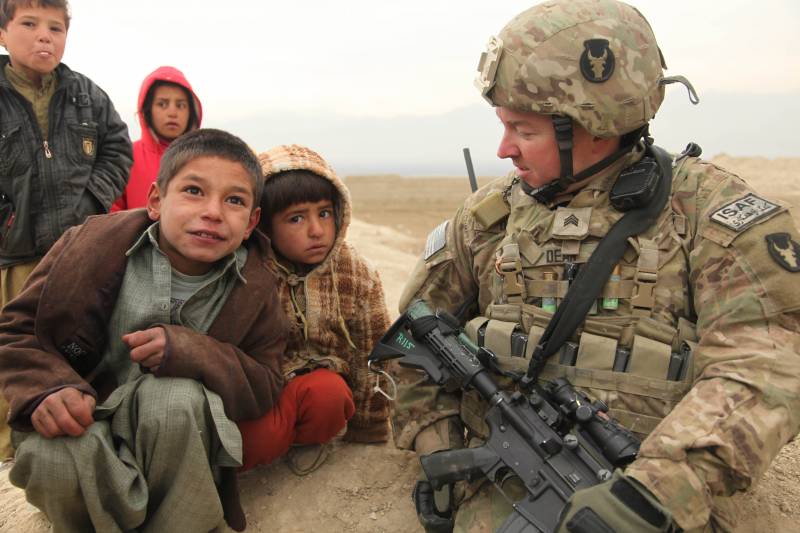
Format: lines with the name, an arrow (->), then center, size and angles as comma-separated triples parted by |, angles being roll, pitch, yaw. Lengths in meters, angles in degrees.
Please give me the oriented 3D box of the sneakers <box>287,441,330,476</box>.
sneakers -> -0.522, 1.088, 3.930 | 0.205, 0.083, 0.146 | -30, 54, -34
